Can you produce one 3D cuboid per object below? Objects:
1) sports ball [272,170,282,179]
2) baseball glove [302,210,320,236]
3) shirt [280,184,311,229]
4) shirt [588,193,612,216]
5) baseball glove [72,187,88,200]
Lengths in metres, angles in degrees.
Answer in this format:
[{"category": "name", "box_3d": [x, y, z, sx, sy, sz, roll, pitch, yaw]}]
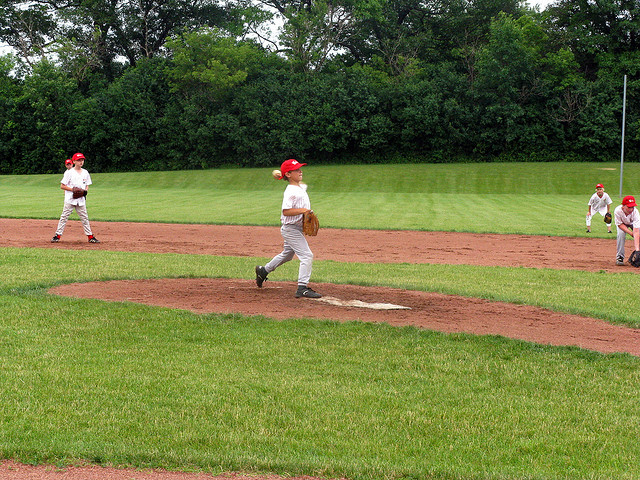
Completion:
[{"category": "sports ball", "box_3d": [-1.246, -1.918, 25.745, 0.275, 0.244, 0.195, -20, 52, -13]}, {"category": "baseball glove", "box_3d": [-0.288, -0.525, 26.110, 0.530, 0.662, 0.201, 1, 13, 4]}, {"category": "shirt", "box_3d": [-0.665, -1.034, 26.249, 0.847, 1.288, 1.334, 8, 17, 27]}, {"category": "shirt", "box_3d": [11.178, -1.445, 35.942, 0.762, 0.856, 1.091, 1, 4, 16]}, {"category": "baseball glove", "box_3d": [-8.545, -1.671, 31.843, 0.443, 0.160, 0.443, -35, -42, 17]}]
